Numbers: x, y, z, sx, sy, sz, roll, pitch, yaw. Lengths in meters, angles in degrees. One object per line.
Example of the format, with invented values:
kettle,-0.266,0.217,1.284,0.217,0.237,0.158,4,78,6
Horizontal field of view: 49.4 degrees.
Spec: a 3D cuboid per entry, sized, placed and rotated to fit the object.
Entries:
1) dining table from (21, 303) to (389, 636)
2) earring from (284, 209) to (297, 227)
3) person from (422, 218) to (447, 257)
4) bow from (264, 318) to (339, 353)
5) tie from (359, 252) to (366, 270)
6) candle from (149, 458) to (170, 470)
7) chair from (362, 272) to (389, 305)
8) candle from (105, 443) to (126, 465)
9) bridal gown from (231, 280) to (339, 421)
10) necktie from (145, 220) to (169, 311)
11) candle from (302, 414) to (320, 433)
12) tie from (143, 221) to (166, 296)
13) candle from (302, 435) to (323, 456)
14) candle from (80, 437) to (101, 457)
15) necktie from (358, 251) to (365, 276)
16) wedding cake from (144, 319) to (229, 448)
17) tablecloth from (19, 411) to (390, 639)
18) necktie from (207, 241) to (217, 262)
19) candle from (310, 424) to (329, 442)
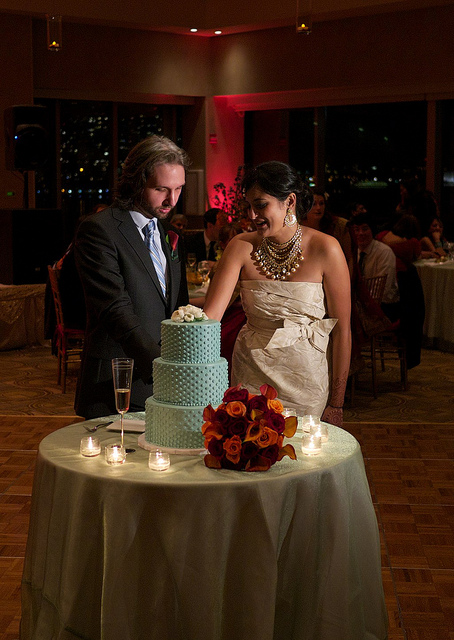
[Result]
dining table,-0.049,0.389,1.344,0.831,0.764,0.835,-1,4,3
earring,0.236,-0.386,1.881,0.031,0.062,0.066,4,9,25
person,3.786,-1.544,9.040,0.394,0.661,1.754,4,9,23
bow,0.275,0.061,1.857,0.277,0.131,0.061,-1,8,-13
tie,1.742,-0.761,6.302,0.051,0.218,0.216,7,13,15
candle,-0.149,0.315,1.079,0.026,0.012,0.027,-3,-4,23
chair,1.674,-0.343,5.561,0.288,0.326,0.534,6,-11,27
candle,-0.265,0.310,1.162,0.041,0.035,0.040,-7,11,-40
bridal gown,0.250,0.117,1.962,0.371,0.508,0.275,5,11,31
necktie,-0.256,-0.216,1.801,0.060,0.378,0.062,3,-28,-28
candle,0.251,0.307,1.485,0.051,0.044,0.052,0,-5,14
tie,-0.267,-0.248,1.804,0.048,0.340,0.038,7,-30,-37
candle,0.214,0.316,1.259,0.042,0.032,0.043,1,7,13
candle,-0.332,0.306,1.210,0.044,0.039,0.044,4,9,22
necktie,1.697,-0.737,6.260,0.064,0.260,0.356,3,8,15
wedding cake,-0.105,0.149,1.242,0.270,0.330,0.300,1,-11,9
tablecloth,-0.114,0.390,1.225,0.618,0.332,0.641,4,-9,-21
necktie,-0.256,-1.125,8.028,0.118,0.300,0.427,0,8,-4
candle,0.252,0.302,1.360,0.054,0.040,0.056,-2,-5,22
